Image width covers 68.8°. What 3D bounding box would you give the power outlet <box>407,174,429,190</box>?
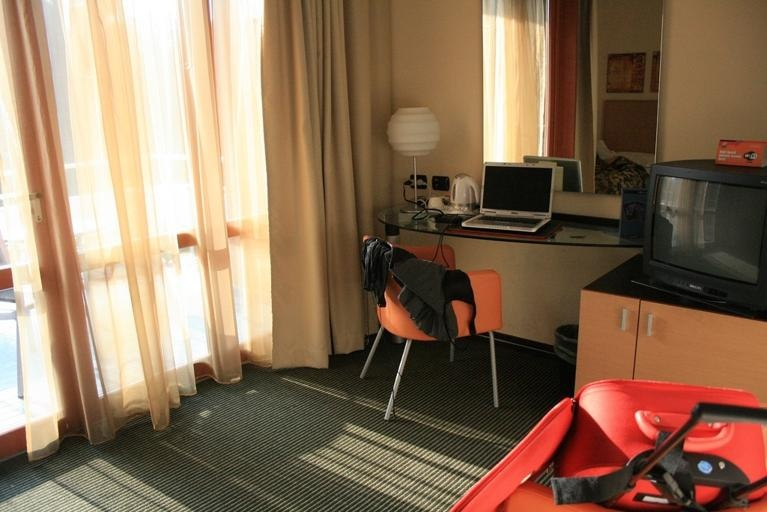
[{"bbox_3d":[0.255,-0.542,4.104,0.141,0.102,0.032,1,-5,-5],"label":"power outlet"}]

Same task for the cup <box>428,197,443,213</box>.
[{"bbox_3d":[0.359,-0.346,3.823,0.103,0.071,0.101,-1,14,0],"label":"cup"}]

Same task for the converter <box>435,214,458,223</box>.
[{"bbox_3d":[0.408,-0.236,3.592,0.100,0.030,0.073,-5,18,-16],"label":"converter"}]

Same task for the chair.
[{"bbox_3d":[0.262,0.370,3.414,0.857,0.883,0.835,1,8,4],"label":"chair"}]

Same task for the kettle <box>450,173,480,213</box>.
[{"bbox_3d":[0.545,-0.411,3.732,0.197,0.225,0.237,9,21,40],"label":"kettle"}]

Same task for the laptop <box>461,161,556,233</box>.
[{"bbox_3d":[0.764,-0.336,3.389,0.561,0.403,0.485,9,21,29],"label":"laptop"}]
